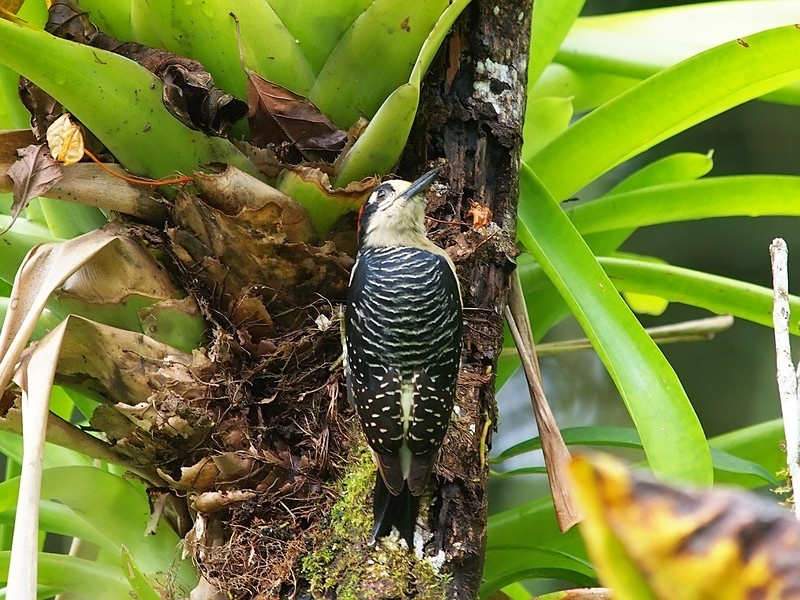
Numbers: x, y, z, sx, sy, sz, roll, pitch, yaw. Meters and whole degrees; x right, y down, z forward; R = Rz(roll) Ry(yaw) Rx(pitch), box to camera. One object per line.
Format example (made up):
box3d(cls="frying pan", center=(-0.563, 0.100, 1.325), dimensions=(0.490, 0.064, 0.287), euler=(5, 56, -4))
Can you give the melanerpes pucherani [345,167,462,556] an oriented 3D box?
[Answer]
box3d(cls="melanerpes pucherani", center=(0.019, 0.130, 2.328), dimensions=(0.224, 0.812, 0.310), euler=(2, -11, 2))
